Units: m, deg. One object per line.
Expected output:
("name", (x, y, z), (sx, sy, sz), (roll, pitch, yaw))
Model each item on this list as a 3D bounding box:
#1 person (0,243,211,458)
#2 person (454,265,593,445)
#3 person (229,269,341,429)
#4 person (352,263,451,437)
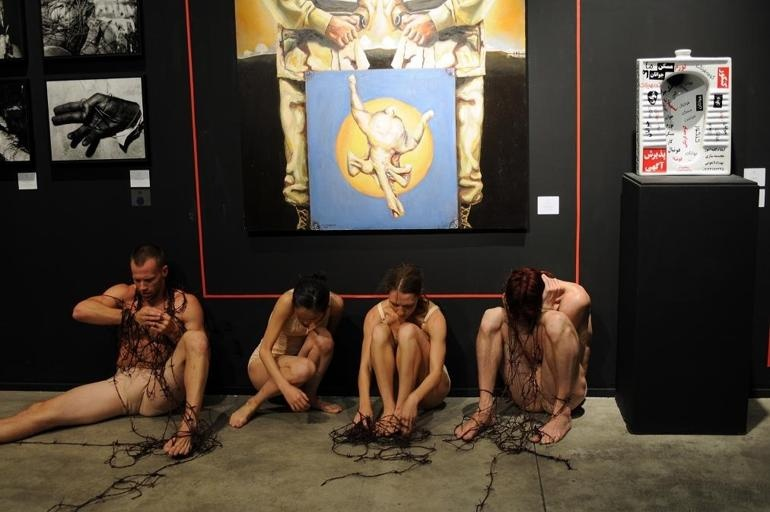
("person", (-1.698, 0.547, 4.538), (1.169, 1.192, 0.744), (0, 8, 3))
("person", (0.958, 0.570, 4.532), (0.564, 1.107, 1.033), (1, 9, 40))
("person", (-0.634, 0.602, 4.701), (0.583, 0.803, 0.513), (-13, 44, -29))
("person", (0.103, 0.574, 4.588), (0.484, 1.012, 0.937), (0, 1, 16))
